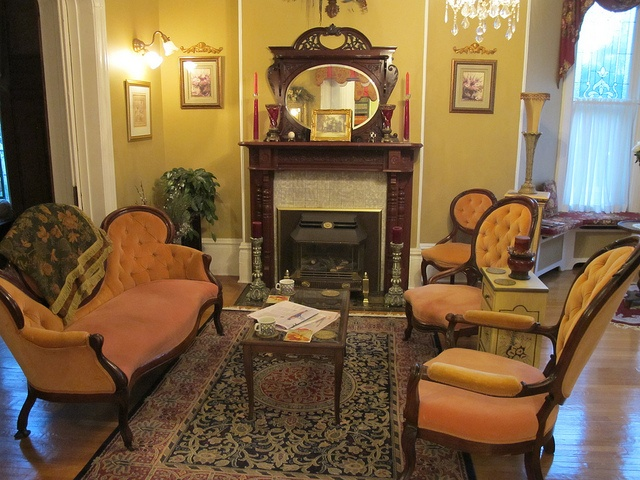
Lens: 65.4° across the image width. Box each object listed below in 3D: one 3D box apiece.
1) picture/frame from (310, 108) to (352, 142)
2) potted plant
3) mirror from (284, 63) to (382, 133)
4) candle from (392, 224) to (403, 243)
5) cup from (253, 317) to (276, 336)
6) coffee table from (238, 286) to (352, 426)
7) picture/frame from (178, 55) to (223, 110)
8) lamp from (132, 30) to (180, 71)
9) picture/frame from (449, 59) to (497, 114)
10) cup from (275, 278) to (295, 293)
[{"bbox_3d":[0.122,-1.224,5.338,0.363,0.318,0.052,1,1,2],"label":"picture/frame"},{"bbox_3d":[-1.448,-0.308,5.615,0.630,0.959,0.622,-4,-11,7],"label":"potted plant"},{"bbox_3d":[0.181,-1.549,5.361,0.720,0.536,0.038,1,8,3],"label":"mirror"},{"bbox_3d":[0.808,-0.065,5.335,0.141,0.232,0.149,5,13,11],"label":"candle"},{"bbox_3d":[-0.383,0.597,3.424,0.136,0.101,0.108,-4,14,-18],"label":"cup"},{"bbox_3d":[-0.142,0.838,3.799,0.680,0.661,0.964,1,11,5],"label":"coffee table"},{"bbox_3d":[-1.347,-1.823,5.681,0.583,0.639,0.049,2,16,4],"label":"picture/frame"},{"bbox_3d":[-1.807,-2.096,5.461,0.496,0.360,0.253,2,9,12],"label":"lamp"},{"bbox_3d":[1.686,-1.720,5.492,0.530,0.583,0.042,1,9,3],"label":"picture/frame"},{"bbox_3d":[-0.303,0.386,4.128,0.131,0.096,0.105,0,15,-1],"label":"cup"}]
